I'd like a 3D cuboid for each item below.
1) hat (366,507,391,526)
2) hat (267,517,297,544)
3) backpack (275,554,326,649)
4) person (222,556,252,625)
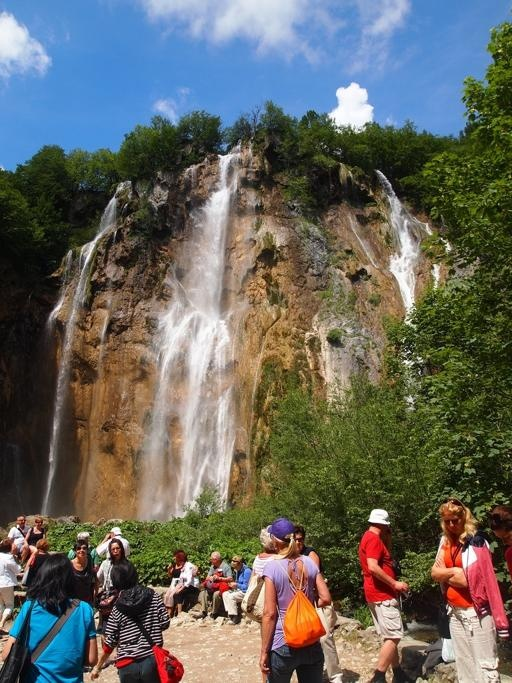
[{"bbox_3d":[1.083,1.531,4.715,0.173,0.122,0.238,0,-6,25],"label":"hat"},{"bbox_3d":[0.176,1.308,3.698,0.121,0.110,0.180,-1,9,-15],"label":"hat"},{"bbox_3d":[0.267,1.655,3.323,0.191,0.399,0.172,-14,-28,9],"label":"backpack"},{"bbox_3d":[-0.309,3.771,8.186,0.432,0.925,0.416,6,-16,-32],"label":"person"}]
